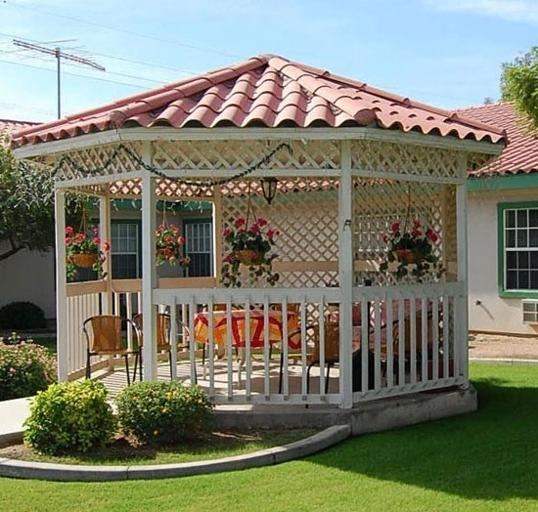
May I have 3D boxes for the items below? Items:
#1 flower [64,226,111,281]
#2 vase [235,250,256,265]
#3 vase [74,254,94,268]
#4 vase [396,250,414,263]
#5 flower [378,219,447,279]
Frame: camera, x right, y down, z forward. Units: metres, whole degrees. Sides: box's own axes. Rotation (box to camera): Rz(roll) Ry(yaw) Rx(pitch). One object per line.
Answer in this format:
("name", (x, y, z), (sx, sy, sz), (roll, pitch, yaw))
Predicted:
("flower", (-2.022, -0.028, 8.376), (0.457, 0.616, 0.652), (1, 7, 2))
("vase", (-0.243, -0.013, 7.679), (0.147, 0.111, 0.152), (-2, 5, -30))
("vase", (-2.015, 0.032, 8.302), (0.227, 0.169, 0.240), (-1, 8, -16))
("vase", (1.304, -0.004, 7.282), (0.172, 0.143, 0.081), (-1, 7, -13))
("flower", (1.371, -0.031, 7.604), (0.664, 0.698, 0.701), (-3, -5, 26))
